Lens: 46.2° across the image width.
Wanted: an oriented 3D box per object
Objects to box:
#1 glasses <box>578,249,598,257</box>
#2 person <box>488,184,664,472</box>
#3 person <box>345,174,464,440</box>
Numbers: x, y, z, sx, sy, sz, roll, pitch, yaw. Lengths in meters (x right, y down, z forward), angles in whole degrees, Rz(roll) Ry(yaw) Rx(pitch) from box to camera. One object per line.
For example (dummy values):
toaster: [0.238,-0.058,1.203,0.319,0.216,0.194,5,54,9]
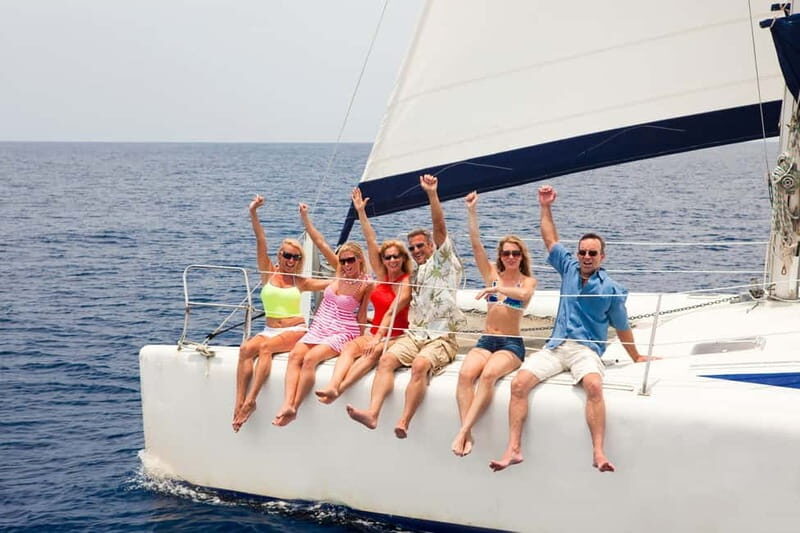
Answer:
glasses: [1.899,-0.136,9.429,0.193,0.073,0.048,-1,0,12]
person: [1.721,0.591,9.477,1.460,2.866,1.017,-1,-1,3]
person: [0.152,0.391,9.780,0.522,2.721,1.033,-1,-1,43]
